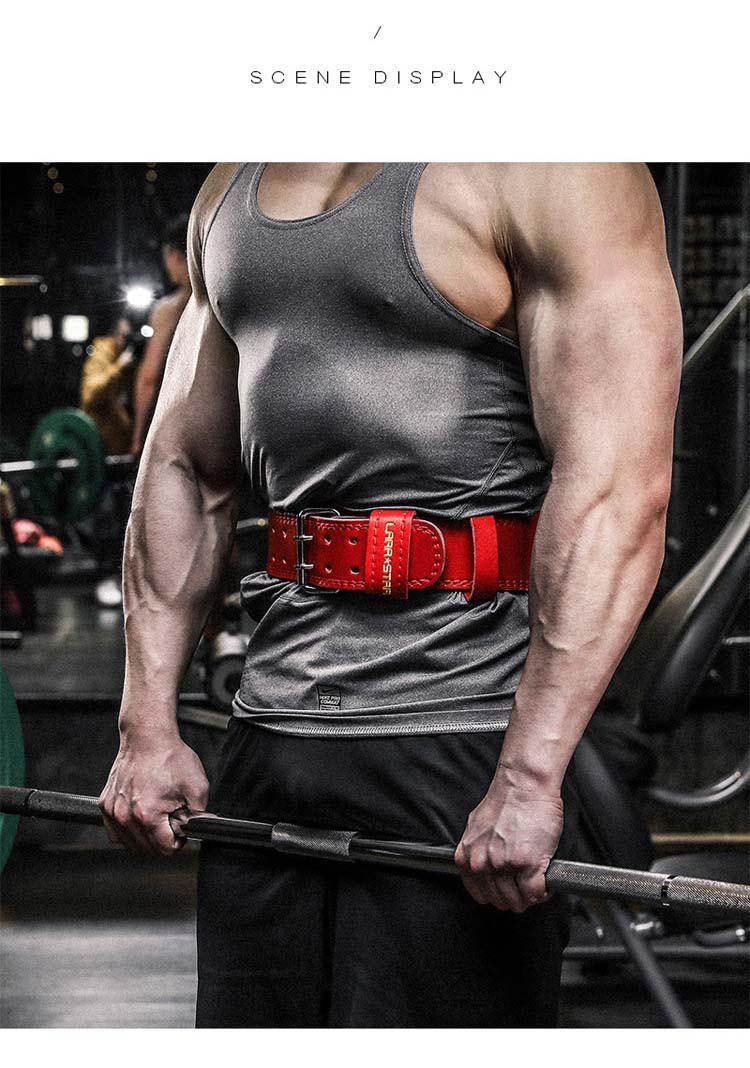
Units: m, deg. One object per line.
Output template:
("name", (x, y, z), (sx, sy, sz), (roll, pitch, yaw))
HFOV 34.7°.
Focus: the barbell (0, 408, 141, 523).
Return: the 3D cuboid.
("barbell", (-0.762, -0.172, 2.982), (0.218, 0.184, 0.368), (6, 10, 8))
